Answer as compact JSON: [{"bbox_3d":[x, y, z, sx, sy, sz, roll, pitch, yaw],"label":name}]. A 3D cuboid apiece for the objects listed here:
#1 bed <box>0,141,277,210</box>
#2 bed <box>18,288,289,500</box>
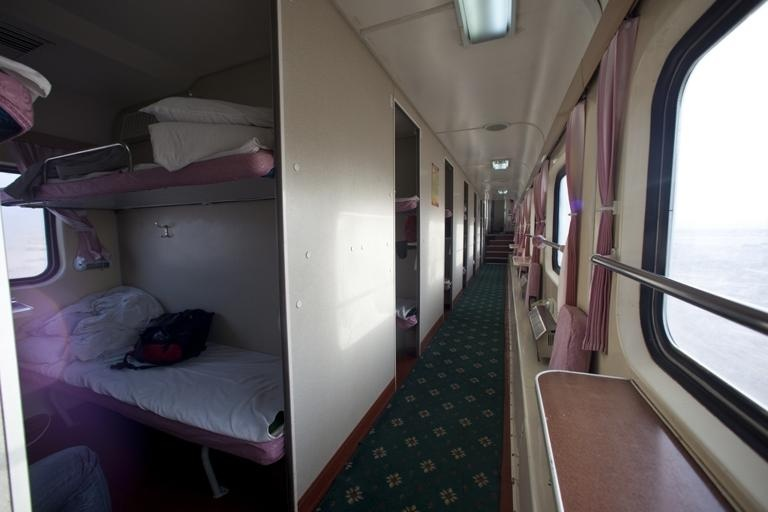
[{"bbox_3d":[-1.970,-0.635,4.558,2.729,0.520,1.205,4,8,17],"label":"bed"},{"bbox_3d":[-2.018,1.359,4.650,2.464,0.865,1.313,12,34,11],"label":"bed"}]
